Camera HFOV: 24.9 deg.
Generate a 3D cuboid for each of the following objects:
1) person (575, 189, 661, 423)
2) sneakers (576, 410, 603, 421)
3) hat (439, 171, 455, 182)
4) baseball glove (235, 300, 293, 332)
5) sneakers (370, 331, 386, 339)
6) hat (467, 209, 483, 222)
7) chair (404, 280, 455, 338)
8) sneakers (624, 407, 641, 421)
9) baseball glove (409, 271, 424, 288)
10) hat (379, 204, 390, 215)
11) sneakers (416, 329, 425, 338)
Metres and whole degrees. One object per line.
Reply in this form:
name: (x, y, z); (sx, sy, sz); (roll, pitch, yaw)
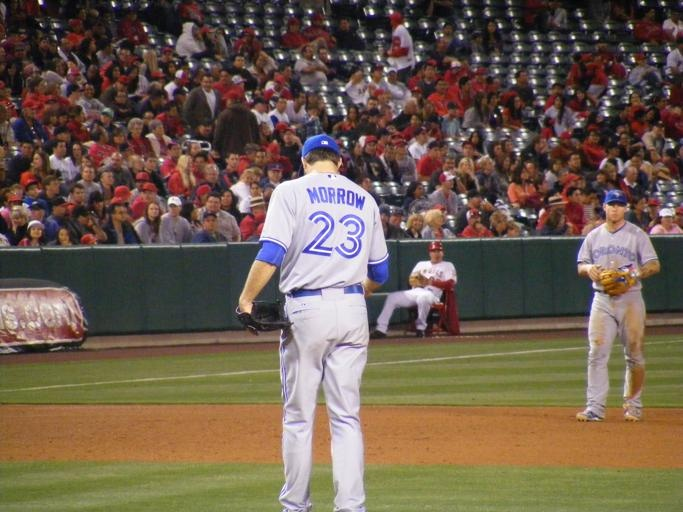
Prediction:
person: (4.200, 0.711, 23.905); (1.187, 3.532, 0.590); (0, 1, -6)
sneakers: (3.786, 2.396, 23.787); (0.434, 0.180, 0.153); (4, 3, 4)
hat: (2.170, -1.690, 31.838); (0.295, 0.152, 0.215); (6, 9, 44)
baseball glove: (-1.046, 0.782, 20.935); (0.574, 0.228, 0.431); (-1, 44, -3)
sneakers: (0.692, 1.452, 29.779); (0.284, 0.107, 0.134); (2, -3, 0)
hat: (2.664, -0.878, 31.318); (0.225, 0.160, 0.291); (1, 24, 11)
chair: (1.907, 0.973, 30.111); (0.923, 1.019, 0.894); (4, 5, 41)
sneakers: (4.457, 2.377, 23.754); (0.123, 0.320, 0.160); (14, 51, 26)
baseball glove: (1.437, 0.402, 29.764); (0.232, 0.288, 0.155); (10, 5, 37)
hat: (0.835, -0.979, 30.924); (0.181, 0.174, 0.216); (-5, -7, 20)
sneakers: (1.514, 1.443, 29.815); (0.140, 0.096, 0.140); (1, 0, 12)
